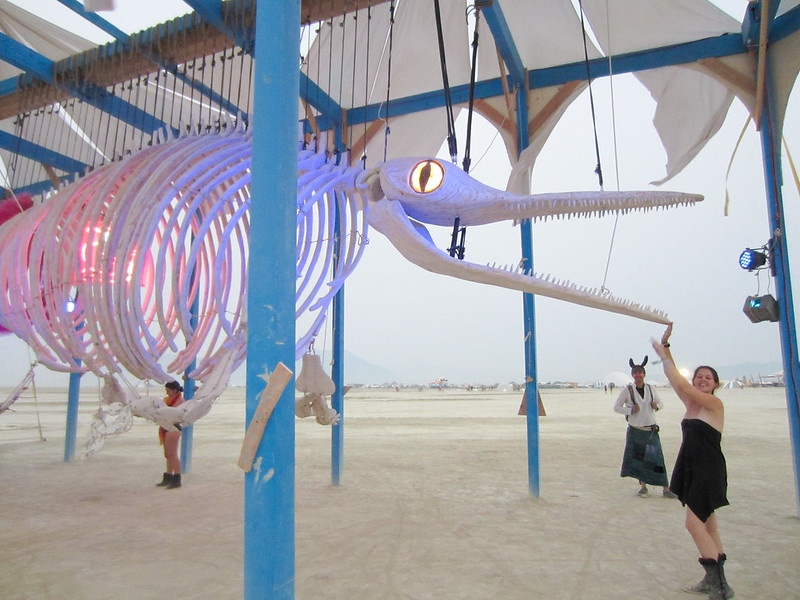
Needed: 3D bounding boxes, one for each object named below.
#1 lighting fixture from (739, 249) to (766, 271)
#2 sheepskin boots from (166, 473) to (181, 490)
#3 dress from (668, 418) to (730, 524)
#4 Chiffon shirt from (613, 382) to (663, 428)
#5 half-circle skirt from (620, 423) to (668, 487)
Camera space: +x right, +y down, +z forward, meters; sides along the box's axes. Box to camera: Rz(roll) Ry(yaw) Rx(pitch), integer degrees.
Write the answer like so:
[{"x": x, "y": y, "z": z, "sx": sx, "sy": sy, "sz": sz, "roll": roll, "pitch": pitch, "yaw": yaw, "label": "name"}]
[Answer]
[{"x": 4.889, "y": -0.556, "z": 8.906, "sx": 0.308, "sy": 0.316, "sz": 0.598, "roll": 0, "pitch": 1, "yaw": 33, "label": "lighting fixture"}, {"x": -3.642, "y": 2.865, "z": 10.213, "sx": 0.292, "sy": 0.232, "sz": 0.121, "roll": 10, "pitch": -14, "yaw": -37, "label": "sheepskin boots"}, {"x": 3.077, "y": 1.736, "z": 6.641, "sx": 0.526, "sy": 1.015, "sz": 0.412, "roll": 0, "pitch": 1, "yaw": 29, "label": "dress"}, {"x": 3.584, "y": 1.573, "z": 9.556, "sx": 0.672, "sy": 0.718, "sz": 0.365, "roll": 2, "pitch": -17, "yaw": -1, "label": "Chiffon shirt"}, {"x": 3.597, "y": 2.334, "z": 9.652, "sx": 0.638, "sy": 0.223, "sz": 0.964, "roll": -11, "pitch": 39, "yaw": 25, "label": "half-circle skirt"}]
